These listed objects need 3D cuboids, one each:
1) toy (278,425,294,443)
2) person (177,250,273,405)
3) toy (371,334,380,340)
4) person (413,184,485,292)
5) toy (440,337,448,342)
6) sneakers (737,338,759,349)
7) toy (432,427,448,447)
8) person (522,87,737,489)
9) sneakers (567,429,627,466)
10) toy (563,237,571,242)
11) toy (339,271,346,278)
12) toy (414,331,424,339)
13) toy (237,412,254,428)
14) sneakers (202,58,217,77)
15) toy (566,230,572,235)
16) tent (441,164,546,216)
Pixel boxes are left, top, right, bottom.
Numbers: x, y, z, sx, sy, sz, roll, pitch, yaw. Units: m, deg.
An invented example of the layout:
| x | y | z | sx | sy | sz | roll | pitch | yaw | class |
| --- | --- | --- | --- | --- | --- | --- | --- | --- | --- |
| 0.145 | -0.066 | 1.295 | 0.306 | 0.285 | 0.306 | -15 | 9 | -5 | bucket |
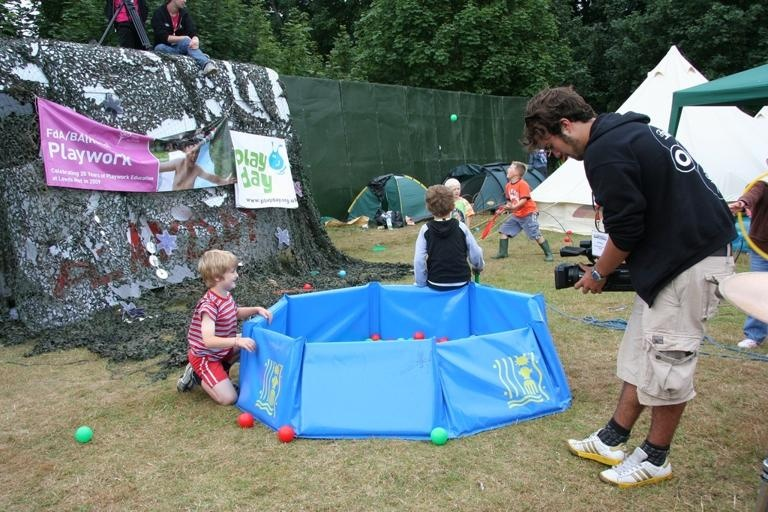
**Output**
| x | y | z | sx | sy | sz | roll | pitch | yaw | class |
| --- | --- | --- | --- | --- | --- | --- | --- | --- | --- |
| -0.914 | 1.625 | 6.700 | 0.153 | 0.136 | 0.136 | 0 | -35 | -23 | toy |
| -1.631 | 0.679 | 7.276 | 0.930 | 1.502 | 0.625 | 1 | 12 | 33 | person |
| -0.104 | 0.908 | 8.163 | 0.058 | 0.062 | 0.073 | 22 | -5 | 27 | toy |
| 0.634 | -0.220 | 8.284 | 0.987 | 1.455 | 0.993 | -1 | 10 | 7 | person |
| 0.618 | 0.862 | 7.553 | 0.087 | 0.052 | 0.091 | 2 | 2 | 7 | toy |
| 3.907 | 0.931 | 7.790 | 0.181 | 0.087 | 0.102 | 2 | 1 | 1 | sneakers |
| 0.491 | 1.628 | 6.550 | 0.135 | 0.146 | 0.169 | -4 | -23 | -1 | toy |
| 2.135 | 0.229 | 6.082 | 1.463 | 3.361 | 0.709 | 0 | 12 | 27 | person |
| 1.860 | 1.695 | 6.478 | 0.519 | 0.271 | 0.215 | 9 | 11 | 30 | sneakers |
| 3.157 | -0.277 | 12.541 | 0.125 | 0.131 | 0.096 | 3 | 7 | 36 | toy |
| -0.626 | 0.260 | 10.703 | 0.094 | 0.098 | 0.111 | 24 | -10 | -20 | toy |
| 0.374 | 0.856 | 7.943 | 0.065 | 0.073 | 0.072 | 13 | -3 | 23 | toy |
| -1.315 | 1.545 | 6.894 | 0.126 | 0.132 | 0.125 | 24 | 33 | 30 | toy |
| -2.425 | -2.597 | 10.046 | 0.106 | 0.131 | 0.268 | -3 | 2 | -28 | sneakers |
| 3.428 | -0.443 | 13.497 | 0.094 | 0.051 | 0.149 | 4 | 11 | 30 | toy |
| 2.339 | -1.664 | 16.709 | 1.438 | 0.573 | 1.443 | -15 | 18 | -38 | tent |
